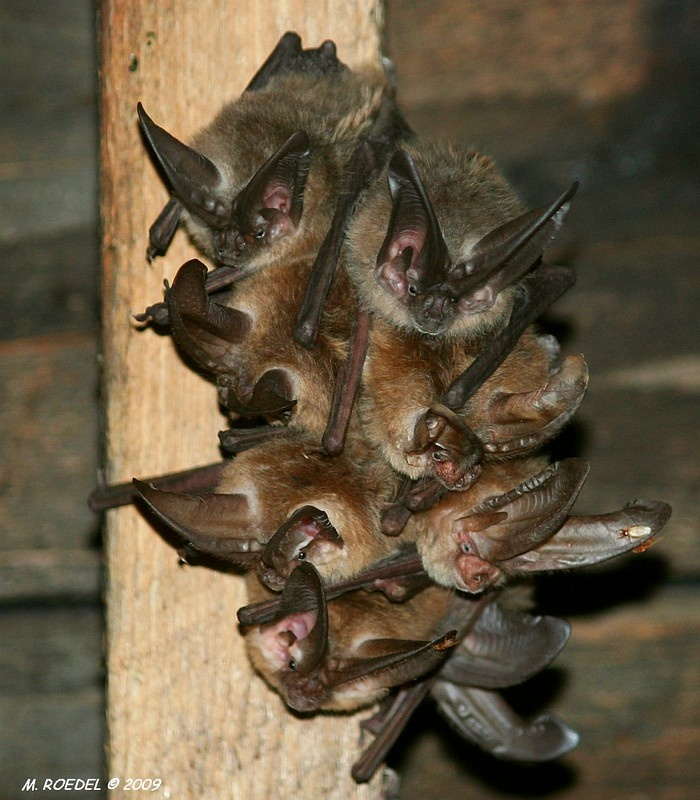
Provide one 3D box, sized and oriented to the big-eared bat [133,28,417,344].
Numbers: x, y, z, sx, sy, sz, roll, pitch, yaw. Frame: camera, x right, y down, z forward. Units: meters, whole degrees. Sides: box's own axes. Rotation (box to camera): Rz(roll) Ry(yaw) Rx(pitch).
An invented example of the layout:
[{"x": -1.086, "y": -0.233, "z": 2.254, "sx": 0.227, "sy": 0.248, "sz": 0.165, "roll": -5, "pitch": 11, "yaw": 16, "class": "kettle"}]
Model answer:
[{"x": -0.153, "y": -0.659, "z": 4.254, "sx": 1.037, "sy": 1.005, "sz": 0.509, "roll": 22, "pitch": 4, "yaw": 30, "class": "big-eared bat"}]
